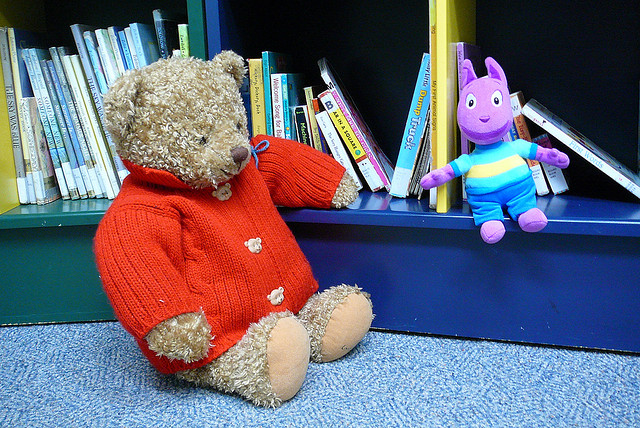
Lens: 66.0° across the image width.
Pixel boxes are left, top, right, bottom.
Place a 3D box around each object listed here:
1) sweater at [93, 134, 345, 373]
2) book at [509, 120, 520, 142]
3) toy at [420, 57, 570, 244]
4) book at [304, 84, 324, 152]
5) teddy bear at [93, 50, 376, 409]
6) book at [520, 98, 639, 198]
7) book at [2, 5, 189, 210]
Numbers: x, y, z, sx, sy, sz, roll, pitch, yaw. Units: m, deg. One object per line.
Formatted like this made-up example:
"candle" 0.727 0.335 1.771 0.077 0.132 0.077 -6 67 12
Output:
"sweater" -0.217 0.094 1.113 0.263 0.416 0.412 -4 29 46
"book" 0.516 -0.225 1.312 0.011 0.047 0.046 -3 38 25
"toy" 0.420 -0.143 1.214 0.390 0.468 0.196 -14 6 5
"book" -0.017 -0.258 1.368 0.020 0.193 0.156 -12 13 9
"teddy bear" -0.203 0.011 1.183 0.572 0.697 0.665 17 28 33
"book" 0.669 -0.169 1.263 0.286 0.058 0.285 41 9 27
"book" -0.601 -0.259 1.302 0.531 0.532 0.218 -6 10 0
